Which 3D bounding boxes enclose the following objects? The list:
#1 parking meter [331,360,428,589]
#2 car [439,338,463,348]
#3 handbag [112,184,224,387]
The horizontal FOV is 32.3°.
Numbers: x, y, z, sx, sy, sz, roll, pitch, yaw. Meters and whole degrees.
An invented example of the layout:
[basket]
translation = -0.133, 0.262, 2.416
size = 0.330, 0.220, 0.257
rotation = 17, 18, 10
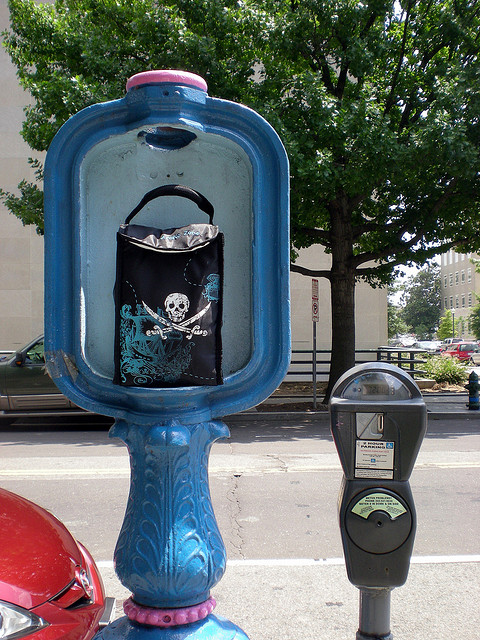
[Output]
[parking meter]
translation = 0.552, 0.629, 3.355
size = 0.373, 0.907, 0.167
rotation = 1, 3, 7
[car]
translation = 12.713, 1.365, 50.172
size = 1.082, 0.858, 1.658
rotation = 0, 6, -4
[handbag]
translation = -0.242, -0.233, 3.036
size = 0.387, 0.156, 0.614
rotation = 8, -38, -5
